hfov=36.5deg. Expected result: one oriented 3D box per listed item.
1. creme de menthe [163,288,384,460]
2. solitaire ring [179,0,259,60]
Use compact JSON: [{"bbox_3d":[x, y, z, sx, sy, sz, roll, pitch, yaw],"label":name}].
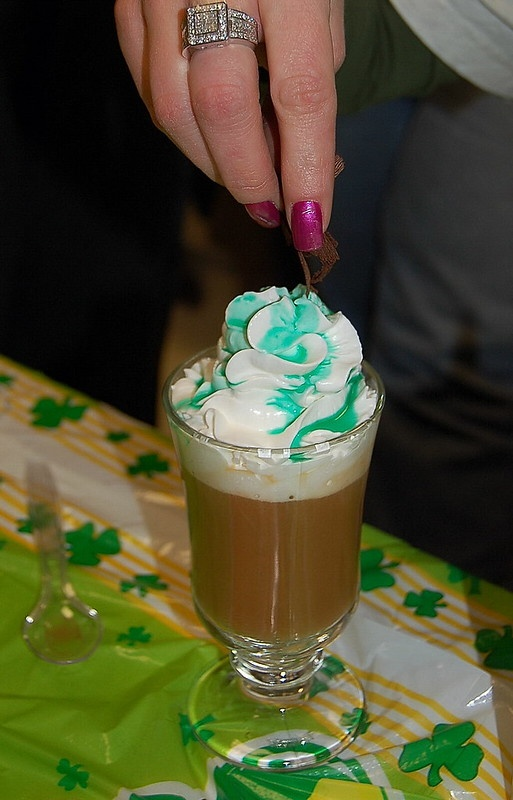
[{"bbox_3d":[0.021,-0.057,0.824,0.205,0.119,0.202,1,31,3],"label":"creme de menthe"},{"bbox_3d":[-0.031,-0.398,0.836,0.099,0.051,0.071,-11,31,-17],"label":"solitaire ring"}]
